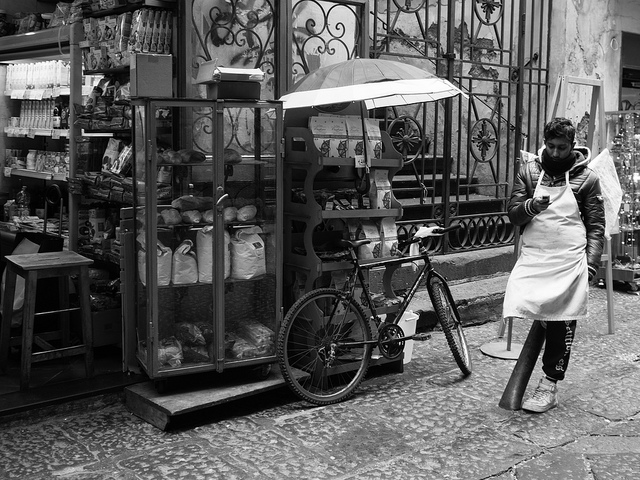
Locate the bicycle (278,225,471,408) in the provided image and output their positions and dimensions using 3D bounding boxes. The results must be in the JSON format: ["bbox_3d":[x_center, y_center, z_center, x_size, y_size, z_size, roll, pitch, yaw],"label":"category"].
[{"bbox_3d":[0.608,0.618,5.134,2.062,1.326,0.995,-3,-7,-30],"label":"bicycle"}]

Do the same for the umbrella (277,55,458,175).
[{"bbox_3d":[0.371,-1.006,5.342,1.639,1.078,1.636,-4,5,23],"label":"umbrella"}]

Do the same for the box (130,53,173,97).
[{"bbox_3d":[-1.254,-1.211,4.420,0.295,0.319,0.164,0,10,-5],"label":"box"}]

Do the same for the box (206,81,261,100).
[{"bbox_3d":[-0.679,-1.147,4.628,0.409,0.132,0.201,1,11,-3],"label":"box"}]
